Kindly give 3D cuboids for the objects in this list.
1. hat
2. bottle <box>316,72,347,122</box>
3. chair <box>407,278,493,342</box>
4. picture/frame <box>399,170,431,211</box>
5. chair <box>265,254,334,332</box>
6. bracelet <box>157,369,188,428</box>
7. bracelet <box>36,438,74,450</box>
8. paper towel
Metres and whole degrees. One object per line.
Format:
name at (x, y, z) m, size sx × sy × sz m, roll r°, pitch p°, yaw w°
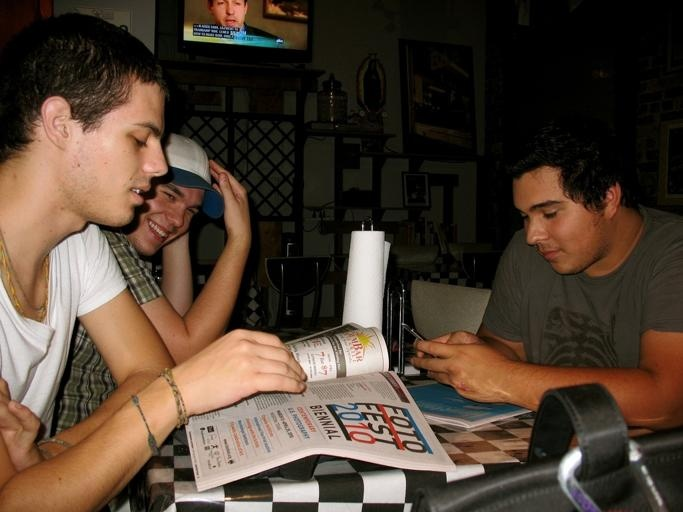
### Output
hat at (-0.521, -0.268, 1.804) m, size 0.273 × 0.141 × 0.178 m, roll 34°, pitch 5°, yaw 32°
bottle at (-0.109, -1.335, 4.745) m, size 0.271 × 0.406 × 0.248 m, roll -2°, pitch 7°, yaw 0°
chair at (0.448, 0.177, 2.081) m, size 0.231 × 0.272 × 0.234 m, roll 2°, pitch 4°, yaw -45°
picture/frame at (0.761, -0.688, 5.594) m, size 0.322 × 0.310 × 0.329 m, roll -8°, pitch 10°, yaw -44°
chair at (-0.222, 0.207, 3.050) m, size 0.334 × 0.379 × 0.323 m, roll 0°, pitch 5°, yaw -2°
bracelet at (-0.297, 0.252, 0.976) m, size 0.031 × 0.084 × 0.072 m, roll -6°, pitch -16°, yaw -25°
bracelet at (-0.543, 0.354, 1.044) m, size 0.043 × 0.011 × 0.041 m, roll 3°, pitch 2°, yaw 3°
paper towel at (0.056, 0.054, 1.372) m, size 0.111 × 0.234 × 0.092 m, roll -3°, pitch 7°, yaw -1°
